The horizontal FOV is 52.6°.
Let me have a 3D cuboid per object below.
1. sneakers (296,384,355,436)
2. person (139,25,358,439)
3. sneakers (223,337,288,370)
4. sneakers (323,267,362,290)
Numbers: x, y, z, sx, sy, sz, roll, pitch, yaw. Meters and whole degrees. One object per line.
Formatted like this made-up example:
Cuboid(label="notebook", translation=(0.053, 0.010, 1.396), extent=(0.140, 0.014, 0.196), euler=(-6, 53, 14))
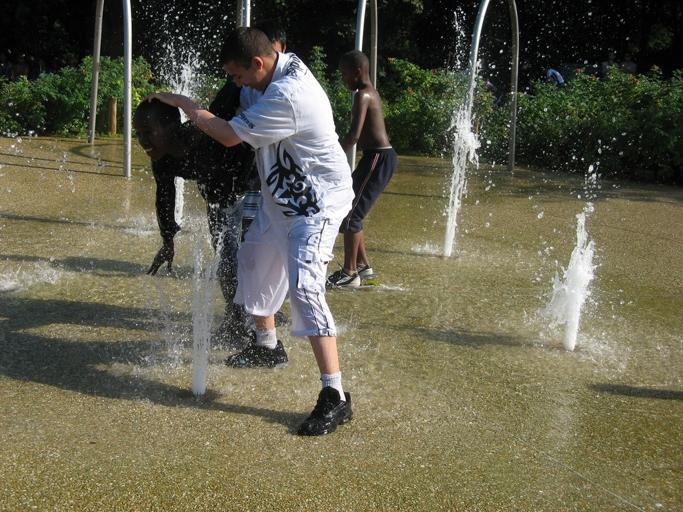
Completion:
Cuboid(label="sneakers", translation=(-0.074, 0.905, 4.199), extent=(0.157, 0.237, 0.412), euler=(11, 15, 30))
Cuboid(label="person", translation=(-0.449, -0.227, 4.312), extent=(1.195, 2.319, 0.985), euler=(10, 18, 29))
Cuboid(label="sneakers", translation=(-0.589, 0.687, 4.899), extent=(0.465, 0.248, 0.171), euler=(2, 2, -6))
Cuboid(label="sneakers", translation=(0.009, 0.220, 6.368), extent=(0.350, 0.187, 0.140), euler=(0, 5, -7))
